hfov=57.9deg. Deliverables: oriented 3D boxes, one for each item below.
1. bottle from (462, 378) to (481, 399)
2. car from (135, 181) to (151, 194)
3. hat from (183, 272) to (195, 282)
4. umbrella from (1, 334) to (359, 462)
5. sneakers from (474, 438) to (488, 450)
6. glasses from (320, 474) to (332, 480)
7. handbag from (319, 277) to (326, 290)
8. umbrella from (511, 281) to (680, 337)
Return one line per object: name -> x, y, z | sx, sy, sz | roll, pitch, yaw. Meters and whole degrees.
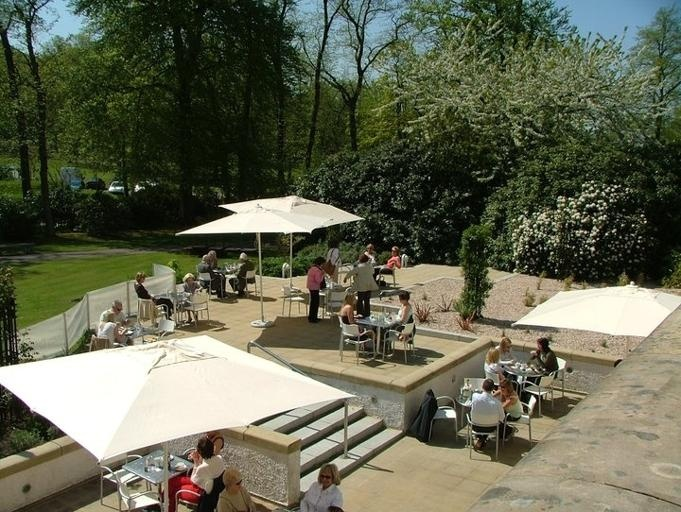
bottle -> 2.623, 2.630, 12.362 | 0.301, 0.172, 0.419 | 2, 6, 29
car -> -13.073, -4.575, 40.636 | 1.018, 0.853, 4.742 | -1, 8, -19
hat -> -4.810, 0.653, 19.496 | 0.265, 0.339, 0.341 | 1, -9, -10
umbrella -> -2.167, 1.602, 7.455 | 2.367, 0.827, 2.181 | 9, 3, -11
sneakers -> 2.571, 3.413, 11.347 | 0.207, 0.234, 0.293 | 3, 8, 12
glasses -> -0.211, 3.010, 8.428 | 0.130, 0.069, 0.021 | 2, 8, 2
handbag -> -0.497, 0.767, 17.521 | 0.225, 0.278, 0.265 | 1, 4, -2
umbrella -> 5.177, 1.124, 12.571 | 2.329, 0.913, 2.317 | -15, 0, -2
